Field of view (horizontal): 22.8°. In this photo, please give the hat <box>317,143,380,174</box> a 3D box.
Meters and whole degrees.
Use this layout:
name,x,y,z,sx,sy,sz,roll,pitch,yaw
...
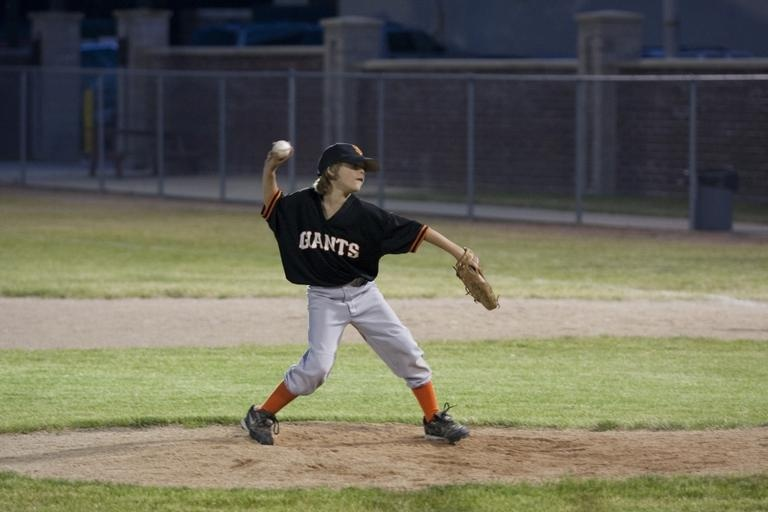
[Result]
name,x,y,z,sx,sy,sz,roll,pitch,yaw
hat,-0.420,-1.200,22.932,0.591,0.280,0.372,-14,-2,17
